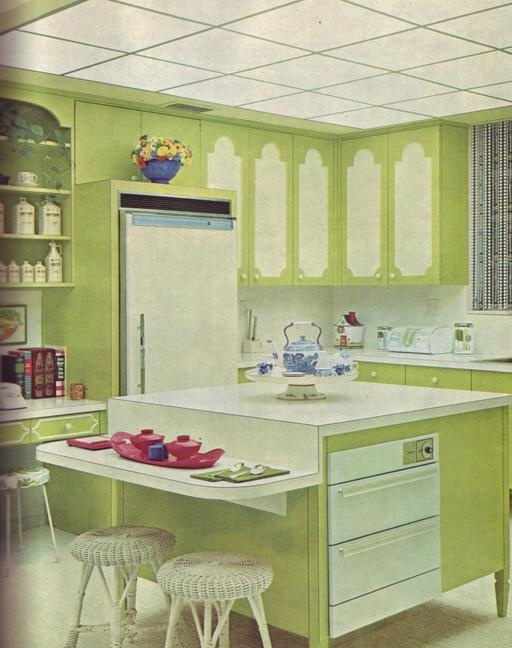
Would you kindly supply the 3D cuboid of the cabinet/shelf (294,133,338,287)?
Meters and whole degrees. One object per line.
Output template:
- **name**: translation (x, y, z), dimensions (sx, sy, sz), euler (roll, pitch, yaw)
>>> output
- **cabinet/shelf**: translation (0.490, -0.939, 5.296), dimensions (0.206, 1.198, 0.599), euler (9, 14, 39)

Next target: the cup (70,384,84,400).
- **cup**: translation (-1.069, 0.409, 3.791), dimensions (0.100, 0.115, 0.042), euler (-2, -6, 18)

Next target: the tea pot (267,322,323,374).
- **tea pot**: translation (0.197, 0.124, 3.583), dimensions (0.307, 0.256, 0.224), euler (-2, -4, 20)

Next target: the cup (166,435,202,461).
- **cup**: translation (-0.230, 0.399, 2.065), dimensions (0.093, 0.061, 0.087), euler (0, -5, 0)

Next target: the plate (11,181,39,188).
- **plate**: translation (-1.337, -0.791, 3.666), dimensions (0.159, 0.044, 0.144), euler (-3, 10, -18)

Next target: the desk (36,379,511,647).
- **desk**: translation (0.186, 0.482, 2.595), dimensions (1.127, 0.920, 1.645), euler (1, 3, 41)

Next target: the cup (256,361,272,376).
- **cup**: translation (0.035, 0.187, 2.604), dimensions (0.055, 0.035, 0.053), euler (0, -3, 0)

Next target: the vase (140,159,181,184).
- **vase**: translation (-0.616, -0.978, 4.039), dimensions (0.240, 0.108, 0.218), euler (0, -3, -9)

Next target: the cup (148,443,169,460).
- **cup**: translation (-0.320, 0.421, 2.070), dimensions (0.064, 0.051, 0.062), euler (2, 5, 0)

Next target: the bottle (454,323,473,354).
- **bottle**: translation (1.627, 0.121, 4.953), dimensions (0.137, 0.237, 0.079), euler (4, 12, 18)

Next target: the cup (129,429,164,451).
- **cup**: translation (-0.378, 0.393, 2.174), dimensions (0.081, 0.052, 0.080), euler (-1, -1, 0)

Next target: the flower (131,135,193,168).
- **flower**: translation (-0.587, -1.082, 3.970), dimensions (0.276, 0.128, 0.272), euler (-3, 4, -21)

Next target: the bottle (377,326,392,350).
- **bottle**: translation (1.097, 0.127, 5.363), dimensions (0.107, 0.198, 0.275), euler (2, 10, 8)

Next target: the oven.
- **oven**: translation (0.331, 0.728, 2.411), dimensions (0.625, 0.585, 0.478), euler (1, -1, -41)
